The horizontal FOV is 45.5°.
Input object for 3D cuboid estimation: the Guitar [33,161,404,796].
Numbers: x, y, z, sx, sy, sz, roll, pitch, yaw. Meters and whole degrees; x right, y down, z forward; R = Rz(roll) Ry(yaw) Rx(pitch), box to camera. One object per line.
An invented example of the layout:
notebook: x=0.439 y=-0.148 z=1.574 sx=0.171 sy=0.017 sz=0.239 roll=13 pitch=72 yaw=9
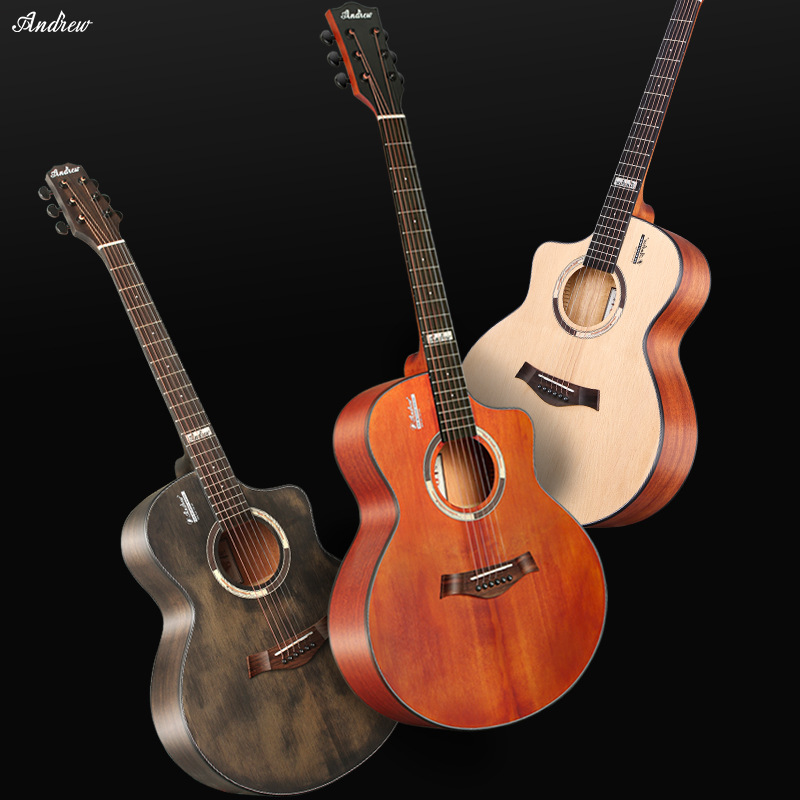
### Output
Guitar: x=-0.482 y=0.116 z=1.963 sx=0.598 sy=0.204 sz=1.375 roll=-20 pitch=79 yaw=-30
